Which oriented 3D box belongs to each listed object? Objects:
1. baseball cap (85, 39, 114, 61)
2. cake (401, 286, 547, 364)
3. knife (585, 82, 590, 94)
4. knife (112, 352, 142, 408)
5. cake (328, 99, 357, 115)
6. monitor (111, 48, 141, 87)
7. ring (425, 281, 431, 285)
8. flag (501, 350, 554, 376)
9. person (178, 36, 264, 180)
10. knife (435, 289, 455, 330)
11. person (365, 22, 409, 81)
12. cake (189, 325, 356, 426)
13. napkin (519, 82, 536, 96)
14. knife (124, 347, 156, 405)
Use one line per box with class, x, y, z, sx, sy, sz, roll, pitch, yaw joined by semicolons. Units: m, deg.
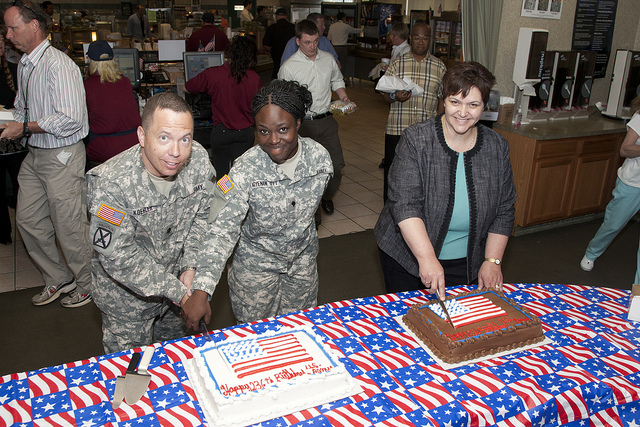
baseball cap;-2.054;-1.497;3.760;0.198;0.160;0.273;-14;29;-25
cake;0.807;0.567;2.084;0.447;0.107;0.410;-9;24;-17
knife;3.553;-1.634;5.355;0.028;0.160;0.018;-30;29;4
knife;-0.840;0.728;1.813;0.072;0.027;0.330;12;14;-24
cake;0.286;-1.253;4.697;0.209;0.073;0.222;25;40;33
monitor;-2.586;-1.961;5.571;0.520;0.498;0.280;7;16;21
ring;0.575;0.372;2.169;0.021;0.025;0.012;6;26;13
flag;1.031;0.737;1.995;0.189;0.021;0.148;-8;27;-15
person;-1.205;-1.110;5.137;1.102;2.058;0.790;-5;29;-27
knife;0.649;0.502;2.133;0.011;0.029;0.233;-11;53;-23
person;1.158;-2.553;6.588;0.628;0.980;0.466;15;41;19
cake;-0.216;0.716;1.814;0.474;0.085;0.358;-6;28;-21
napkin;2.507;-1.475;4.874;0.178;0.169;0.115;3;23;26
knife;-0.800;0.703;1.803;0.119;0.368;0.033;18;21;-19
